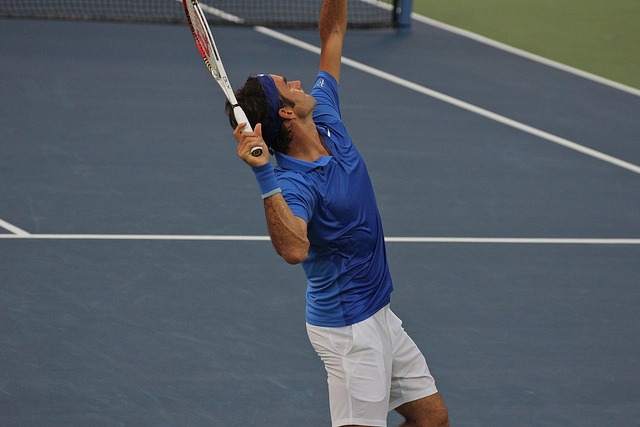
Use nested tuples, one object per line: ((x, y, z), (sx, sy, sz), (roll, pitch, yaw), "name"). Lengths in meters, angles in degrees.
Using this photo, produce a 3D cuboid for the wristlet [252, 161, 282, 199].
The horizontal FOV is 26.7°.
((-0.520, -0.350, 14.074), (0.253, 0.326, 0.256), (-15, 43, -25), "wristlet")
